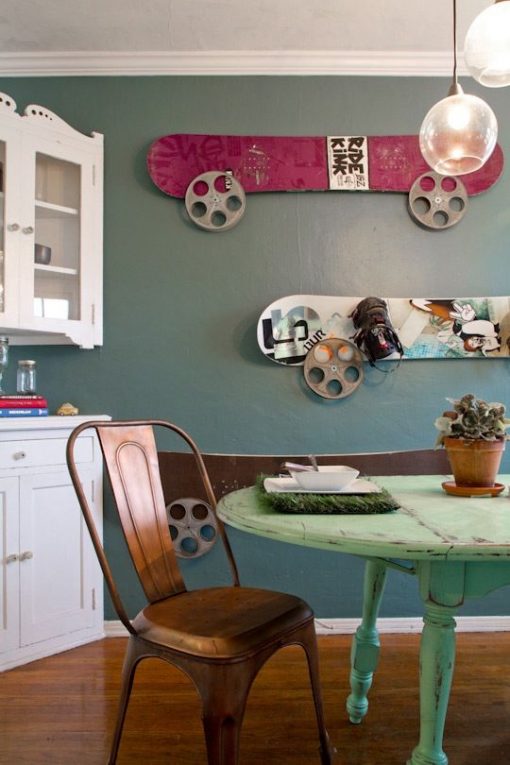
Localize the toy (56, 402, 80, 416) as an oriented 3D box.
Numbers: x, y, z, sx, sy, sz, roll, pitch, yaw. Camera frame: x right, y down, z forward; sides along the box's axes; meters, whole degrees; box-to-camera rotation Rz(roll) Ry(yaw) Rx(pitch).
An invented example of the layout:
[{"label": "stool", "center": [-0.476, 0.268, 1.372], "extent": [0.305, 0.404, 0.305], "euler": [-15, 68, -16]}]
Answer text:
[{"label": "toy", "center": [-0.753, 0.103, 2.711], "extent": [0.053, 0.057, 0.080], "euler": [1, 1, 21]}]

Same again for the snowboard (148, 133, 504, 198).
[{"label": "snowboard", "center": [0.286, -0.937, 3.004], "extent": [1.769, 0.373, 0.240], "euler": [-1, 6, -6]}]
